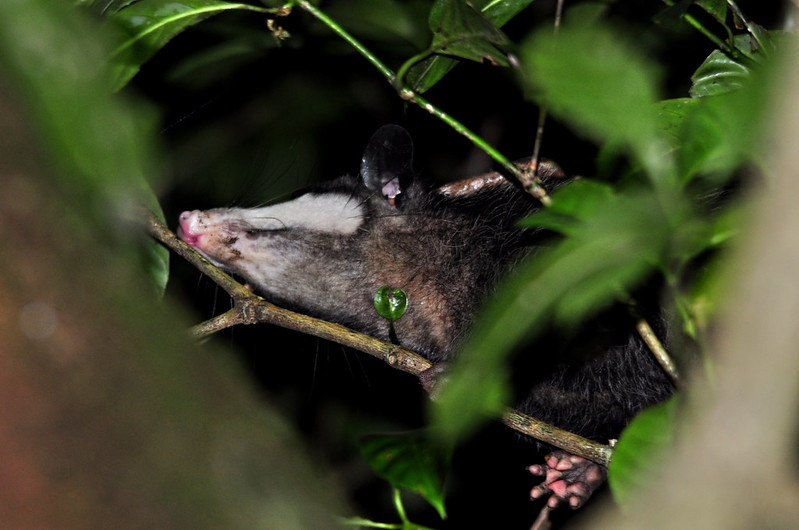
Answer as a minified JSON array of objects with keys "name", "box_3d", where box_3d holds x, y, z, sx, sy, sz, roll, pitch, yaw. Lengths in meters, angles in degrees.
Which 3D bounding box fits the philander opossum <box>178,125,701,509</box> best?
[{"name":"philander opossum","box_3d":[0.105,0.081,2.772,1.459,0.915,0.607,21,38,22]}]
